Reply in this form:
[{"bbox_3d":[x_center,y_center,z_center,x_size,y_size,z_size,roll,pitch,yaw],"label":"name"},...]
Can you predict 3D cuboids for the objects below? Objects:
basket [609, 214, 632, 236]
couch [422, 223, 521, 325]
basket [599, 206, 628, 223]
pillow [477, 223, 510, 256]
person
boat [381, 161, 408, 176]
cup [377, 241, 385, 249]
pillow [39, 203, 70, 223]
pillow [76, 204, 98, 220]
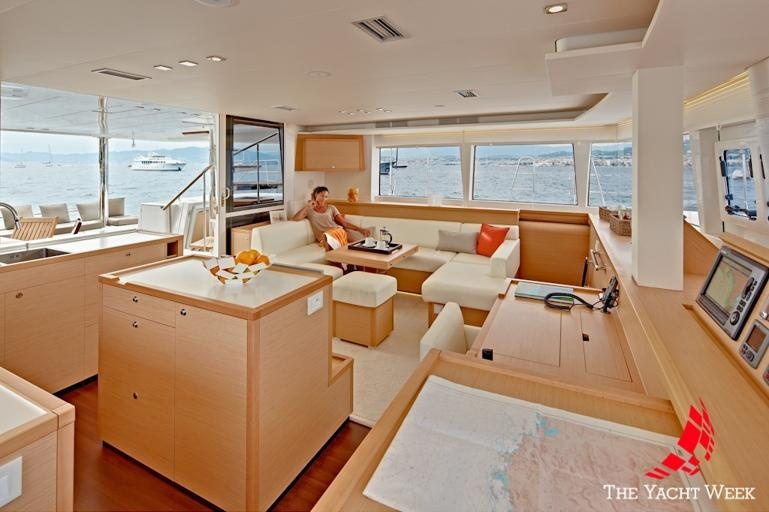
[{"bbox_3d":[2.447,-0.319,4.584,0.219,0.138,0.402,2,6,20],"label":"basket"},{"bbox_3d":[1.100,0.286,5.400,0.778,0.777,1.355,3,6,29],"label":"couch"},{"bbox_3d":[2.669,-0.485,5.179,0.287,0.128,0.394,0,4,-2],"label":"basket"},{"bbox_3d":[1.524,-0.205,6.313,0.138,0.416,0.459,29,-6,-37],"label":"pillow"},{"bbox_3d":[-0.779,-0.469,6.746,1.005,0.817,1.507,-13,26,-21],"label":"person"},{"bbox_3d":[0.091,-1.557,7.910,0.641,0.179,0.193,2,9,13],"label":"boat"},{"bbox_3d":[-0.045,-0.129,5.522,0.086,0.074,0.083,0,4,0],"label":"cup"},{"bbox_3d":[-4.979,-0.637,6.629,0.174,0.326,0.493,1,9,17],"label":"pillow"},{"bbox_3d":[-5.241,-0.763,7.727,0.139,0.253,0.372,-32,-8,28],"label":"pillow"}]
